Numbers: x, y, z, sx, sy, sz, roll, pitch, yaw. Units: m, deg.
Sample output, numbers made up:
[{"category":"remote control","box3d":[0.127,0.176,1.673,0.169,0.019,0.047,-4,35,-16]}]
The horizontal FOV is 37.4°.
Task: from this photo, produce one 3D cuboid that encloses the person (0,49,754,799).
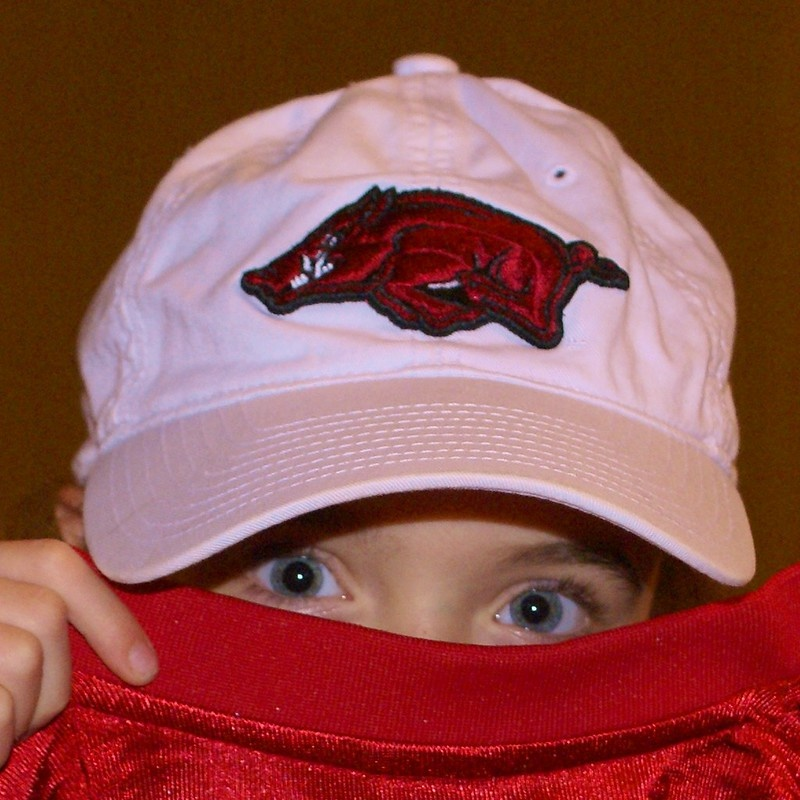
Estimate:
[{"category":"person","box3d":[-0.012,-0.044,1.184,0.546,0.399,0.688,4,17,-7]}]
